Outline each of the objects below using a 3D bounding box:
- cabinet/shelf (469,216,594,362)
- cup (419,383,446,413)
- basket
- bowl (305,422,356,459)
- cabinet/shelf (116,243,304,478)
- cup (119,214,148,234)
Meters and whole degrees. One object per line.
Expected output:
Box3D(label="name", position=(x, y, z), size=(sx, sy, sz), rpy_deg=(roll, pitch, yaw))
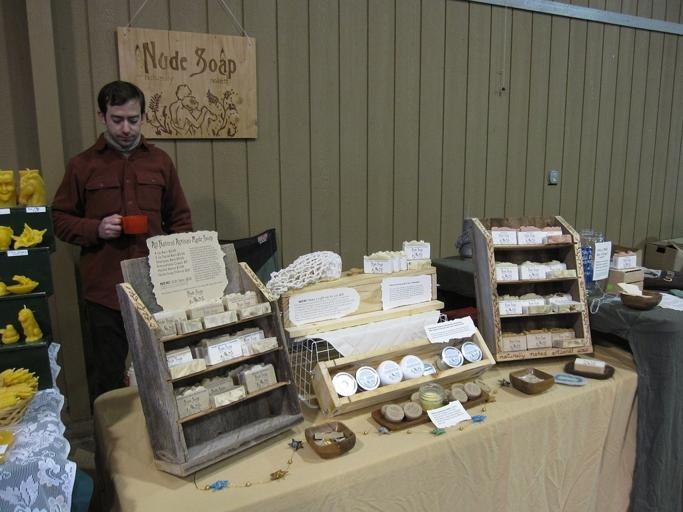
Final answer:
Box3D(label="cabinet/shelf", position=(0.887, 0.168, 2.199), size=(0.594, 0.850, 0.284), rpy_deg=(-2, 1, -16))
Box3D(label="cup", position=(0.351, 0.539, 1.809), size=(0.082, 0.066, 0.084), rpy_deg=(-2, 5, 0))
Box3D(label="basket", position=(0.067, 0.304, 2.023), size=(0.607, 0.288, 0.345), rpy_deg=(-11, 15, -24))
Box3D(label="bowl", position=(-0.042, 0.646, 1.656), size=(0.158, 0.059, 0.186), rpy_deg=(-9, 6, -11))
Box3D(label="cabinet/shelf", position=(-0.447, 0.332, 1.644), size=(0.488, 0.709, 0.227), rpy_deg=(-12, 6, -44))
Box3D(label="cup", position=(-0.952, -0.141, 2.128), size=(0.125, 0.097, 0.100), rpy_deg=(-4, 7, -12))
